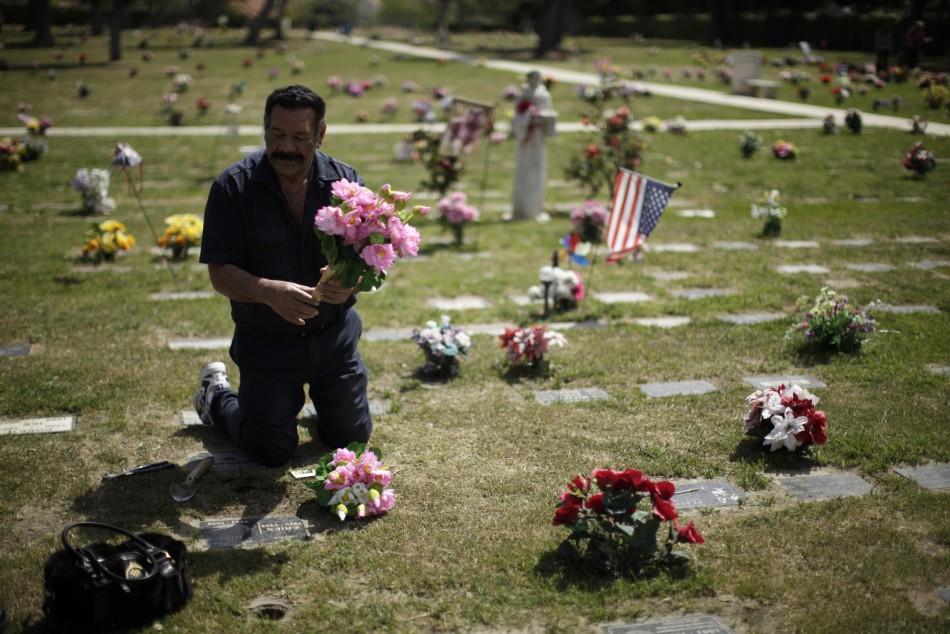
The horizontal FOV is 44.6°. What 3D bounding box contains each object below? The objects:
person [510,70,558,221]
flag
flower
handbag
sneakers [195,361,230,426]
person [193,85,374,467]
[{"bbox_3d":[0.644,-1.797,12.839,0.468,1.720,1.207,2,17,1],"label":"person"},{"bbox_3d":[1.568,-0.965,11.166,0.799,0.878,0.155,29,20,35],"label":"flag"},{"bbox_3d":[-0.925,-0.533,8.309,0.680,0.703,0.606,36,2,6],"label":"flower"},{"bbox_3d":[-2.458,1.766,7.817,0.820,0.514,0.819,9,9,33],"label":"handbag"},{"bbox_3d":[-2.086,0.629,9.308,0.276,0.574,0.187,-25,59,-24],"label":"sneakers"},{"bbox_3d":[-1.442,-0.284,8.700,1.273,2.831,0.947,-2,17,-13],"label":"person"}]
